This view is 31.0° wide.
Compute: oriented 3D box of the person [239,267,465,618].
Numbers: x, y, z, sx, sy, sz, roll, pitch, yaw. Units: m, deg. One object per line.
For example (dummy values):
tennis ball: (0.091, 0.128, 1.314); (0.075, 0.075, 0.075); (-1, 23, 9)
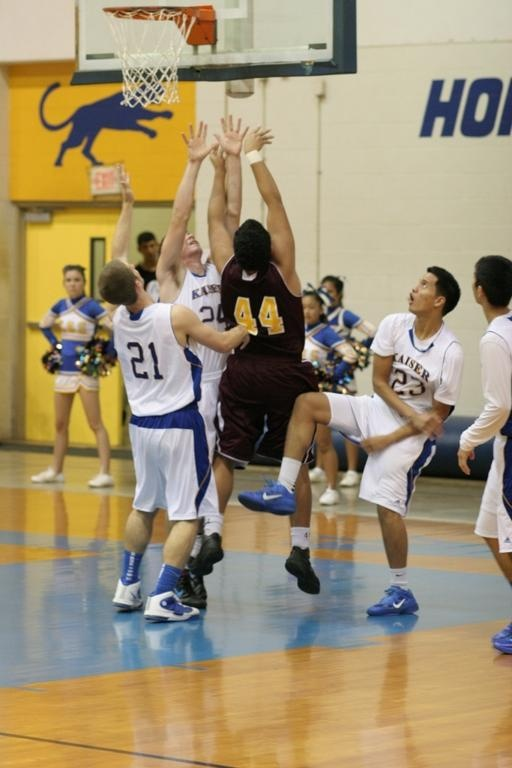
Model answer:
person: (0.530, 0.304, 4.373); (0.808, 1.683, 0.807); (3, 17, 11)

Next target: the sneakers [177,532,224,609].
sneakers: (-0.259, 0.866, 4.254); (0.163, 0.470, 0.197); (-4, 55, -16)

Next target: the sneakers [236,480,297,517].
sneakers: (0.050, 0.529, 4.252); (0.251, 0.175, 0.200); (2, 16, 5)

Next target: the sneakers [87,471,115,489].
sneakers: (-1.497, 0.934, 8.904); (0.102, 0.124, 0.293); (-3, -8, 18)

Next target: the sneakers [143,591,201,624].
sneakers: (-0.378, 0.967, 4.010); (0.309, 0.139, 0.099); (3, -3, -34)

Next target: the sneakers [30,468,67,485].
sneakers: (-2.044, 0.909, 9.120); (0.362, 0.142, 0.131); (2, 2, -24)

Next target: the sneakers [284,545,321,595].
sneakers: (0.221, 0.904, 4.342); (0.143, 0.305, 0.264); (2, 16, 8)

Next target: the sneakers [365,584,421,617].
sneakers: (0.633, 1.002, 4.284); (0.289, 0.148, 0.099); (0, -2, -22)

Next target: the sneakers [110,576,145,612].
sneakers: (-0.571, 0.972, 4.191); (0.081, 0.113, 0.218); (7, -7, 16)
